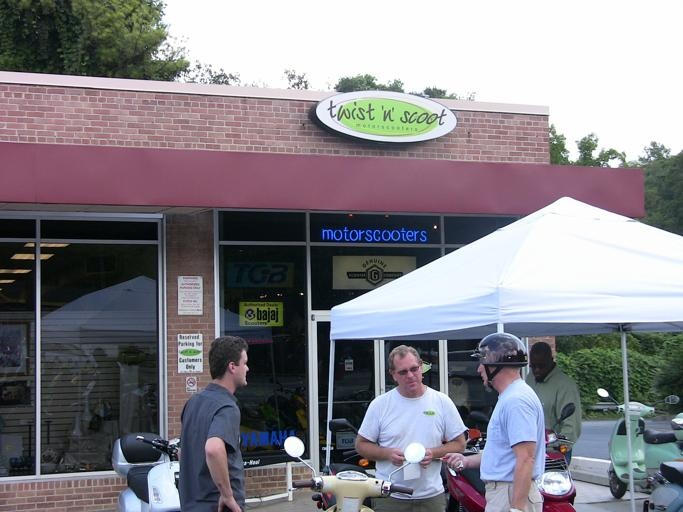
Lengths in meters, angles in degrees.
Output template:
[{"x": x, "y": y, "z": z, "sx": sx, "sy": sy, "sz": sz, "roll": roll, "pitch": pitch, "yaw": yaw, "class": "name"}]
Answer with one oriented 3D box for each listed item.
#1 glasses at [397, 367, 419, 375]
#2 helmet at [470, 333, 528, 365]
[{"x": 0.738, "y": 1.270, "z": 10.462, "sx": 0.113, "sy": 0.035, "sz": 0.117, "roll": -16, "pitch": -21, "yaw": -6, "class": "glasses"}, {"x": 1.670, "y": 1.022, "z": 10.061, "sx": 0.639, "sy": 0.391, "sz": 0.511, "roll": -9, "pitch": -11, "yaw": 28, "class": "helmet"}]
